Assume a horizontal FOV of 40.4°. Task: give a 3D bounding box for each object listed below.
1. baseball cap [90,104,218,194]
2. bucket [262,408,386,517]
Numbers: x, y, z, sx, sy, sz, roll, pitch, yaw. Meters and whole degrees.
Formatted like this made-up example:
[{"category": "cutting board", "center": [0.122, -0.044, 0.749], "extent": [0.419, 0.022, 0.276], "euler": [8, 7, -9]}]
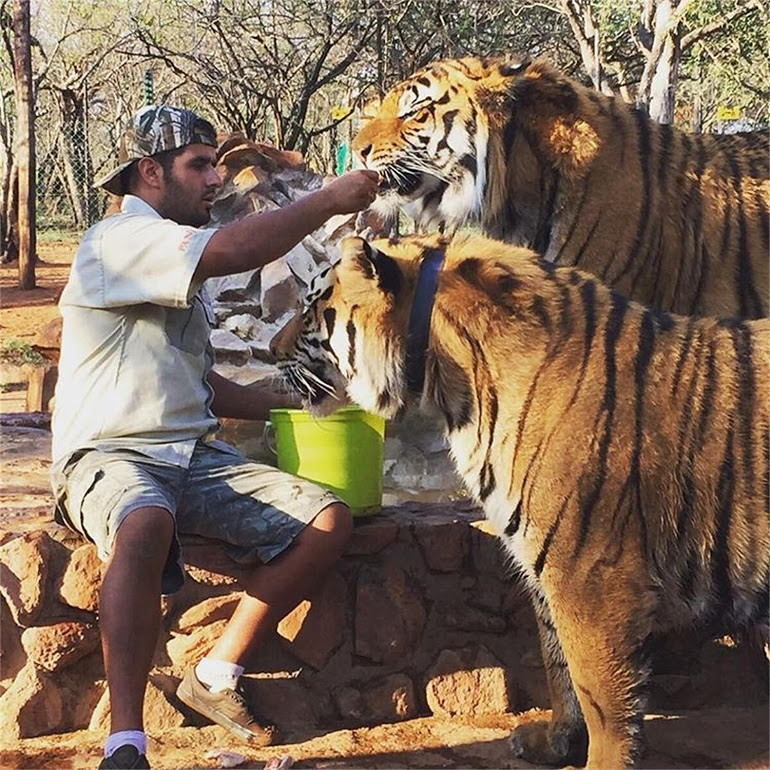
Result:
[{"category": "baseball cap", "center": [-0.785, -0.797, 3.522], "extent": [0.369, 0.249, 0.255], "euler": [-15, 0, 7]}, {"category": "bucket", "center": [-0.245, 0.282, 3.866], "extent": [0.407, 0.302, 0.415], "euler": [0, -4, 0]}]
